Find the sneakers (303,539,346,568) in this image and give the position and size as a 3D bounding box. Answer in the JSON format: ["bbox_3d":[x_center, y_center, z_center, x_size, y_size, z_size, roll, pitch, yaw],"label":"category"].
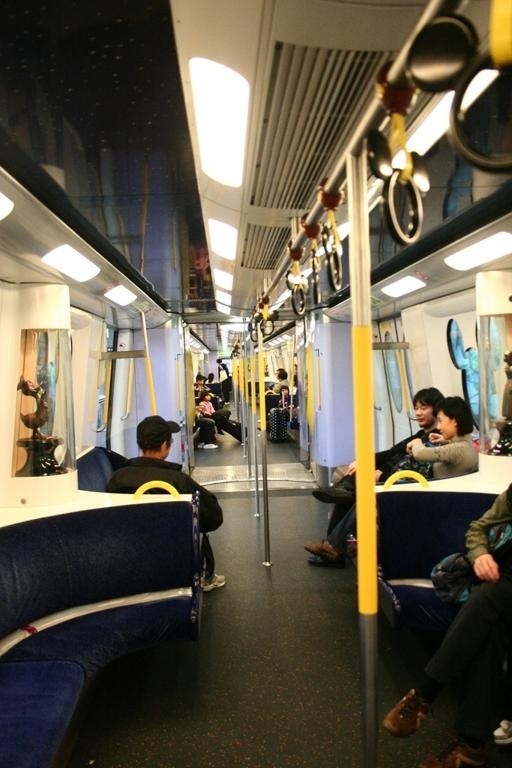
[{"bbox_3d":[0.563,1.409,4.554,0.440,0.203,0.173,9,-1,38],"label":"sneakers"}]

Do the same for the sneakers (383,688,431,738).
[{"bbox_3d":[0.604,1.300,2.149,0.118,0.222,0.098,37,6,29],"label":"sneakers"}]

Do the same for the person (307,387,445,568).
[{"bbox_3d":[0.954,0.704,4.178,1.029,1.411,0.569,6,0,-10],"label":"person"}]

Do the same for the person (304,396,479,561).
[{"bbox_3d":[0.977,0.641,3.826,1.111,1.340,0.605,9,-2,-2],"label":"person"}]

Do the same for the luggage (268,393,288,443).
[{"bbox_3d":[0.522,0.873,13.075,0.461,1.460,0.902,3,-10,1],"label":"luggage"}]

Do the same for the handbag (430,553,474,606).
[{"bbox_3d":[0.947,0.930,2.591,0.211,0.233,0.148,8,-11,-40],"label":"handbag"}]

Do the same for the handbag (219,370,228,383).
[{"bbox_3d":[-1.378,-0.304,22.334,0.180,0.472,0.454,-1,-12,-9],"label":"handbag"}]

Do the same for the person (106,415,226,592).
[{"bbox_3d":[-0.571,0.895,3.740,0.836,1.342,0.701,-6,6,-37],"label":"person"}]

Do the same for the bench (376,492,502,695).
[{"bbox_3d":[0.907,0.914,2.802,0.531,0.688,0.559,-3,8,-10],"label":"bench"}]

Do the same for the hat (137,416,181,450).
[{"bbox_3d":[-0.647,0.303,3.651,0.178,0.163,0.308,0,31,20],"label":"hat"}]
